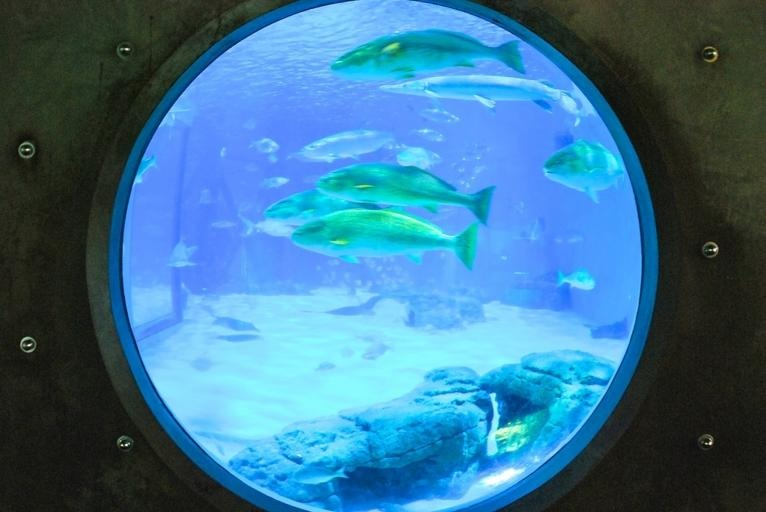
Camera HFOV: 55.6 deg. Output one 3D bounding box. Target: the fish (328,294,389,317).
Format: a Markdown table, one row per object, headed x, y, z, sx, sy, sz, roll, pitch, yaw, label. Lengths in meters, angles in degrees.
| x | y | z | sx | sy | sz | roll | pitch | yaw | label |
| --- | --- | --- | --- | --- | --- | --- | --- | --- | --- |
| -0.122 | 0.252 | 3.416 | 0.257 | 0.042 | 0.066 | -17 | 71 | -5 | fish |

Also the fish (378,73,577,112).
| x | y | z | sx | sy | sz | roll | pitch | yaw | label |
| --- | --- | --- | --- | --- | --- | --- | --- | --- | --- |
| 0.396 | -0.685 | 3.012 | 0.611 | 0.133 | 0.114 | 6 | 53 | 13 | fish |

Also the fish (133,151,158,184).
| x | y | z | sx | sy | sz | roll | pitch | yaw | label |
| --- | --- | --- | --- | --- | --- | --- | --- | --- | --- |
| -0.862 | -0.319 | 2.631 | 0.034 | 0.057 | 0.131 | 17 | 83 | 13 | fish |

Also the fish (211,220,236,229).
| x | y | z | sx | sy | sz | roll | pitch | yaw | label |
| --- | --- | --- | --- | --- | --- | --- | --- | --- | --- |
| -0.696 | -0.137 | 3.143 | 0.098 | 0.036 | 0.016 | -7 | 88 | -29 | fish |
